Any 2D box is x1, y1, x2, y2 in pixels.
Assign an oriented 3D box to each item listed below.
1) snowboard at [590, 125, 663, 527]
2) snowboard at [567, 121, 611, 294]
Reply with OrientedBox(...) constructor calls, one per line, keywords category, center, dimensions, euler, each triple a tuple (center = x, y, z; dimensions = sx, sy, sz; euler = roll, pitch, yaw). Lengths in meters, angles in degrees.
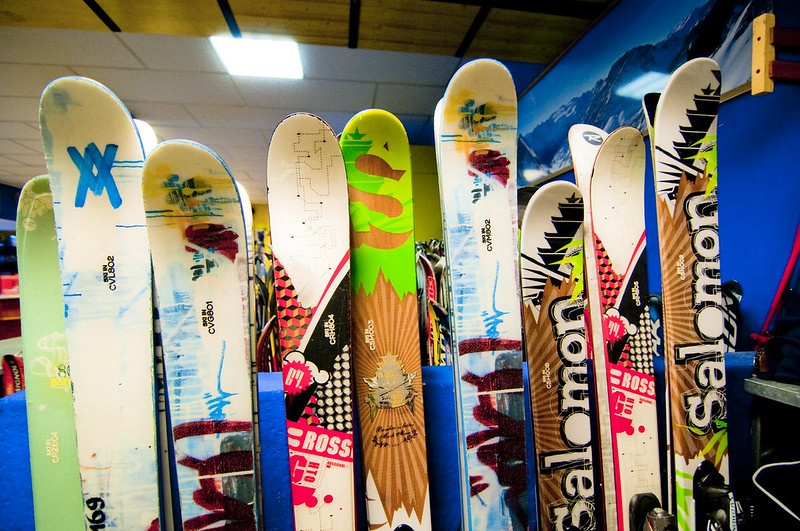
OrientedBox(category="snowboard", center=(1.342, 0.333, 4.131), dimensions=(0.308, 2.676, 0.226), euler=(-3, 2, -9))
OrientedBox(category="snowboard", center=(1.154, -0.401, 4.219), dimensions=(0.260, 0.957, 0.142), euler=(3, -11, -8))
